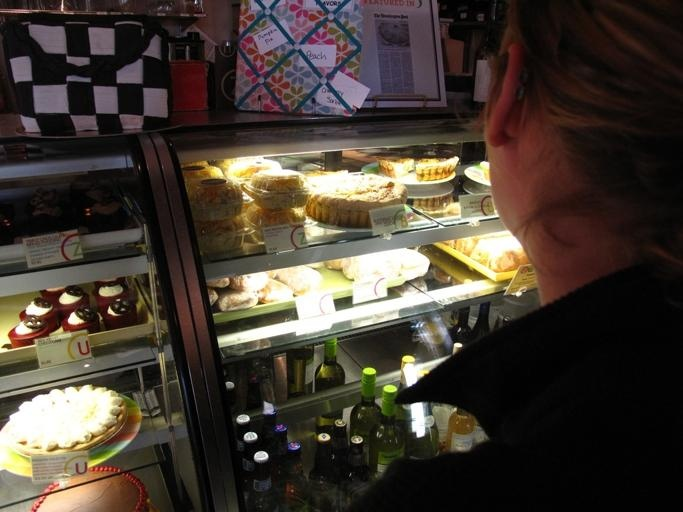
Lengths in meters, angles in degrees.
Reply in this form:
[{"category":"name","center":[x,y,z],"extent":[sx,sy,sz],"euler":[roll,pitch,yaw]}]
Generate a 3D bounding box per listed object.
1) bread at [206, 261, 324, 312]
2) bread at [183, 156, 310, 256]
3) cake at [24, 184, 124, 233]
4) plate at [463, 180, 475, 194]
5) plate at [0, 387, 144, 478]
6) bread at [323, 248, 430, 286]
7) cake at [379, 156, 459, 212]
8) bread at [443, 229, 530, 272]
[{"category":"bread","center":[-0.260,0.105,1.655],"extent":[0.263,0.058,0.169],"euler":[-7,12,-22]},{"category":"bread","center":[-0.270,-0.156,1.451],"extent":[0.333,0.131,0.302],"euler":[-9,35,-19]},{"category":"cake","center":[-0.710,-0.119,1.295],"extent":[0.189,0.041,0.166],"euler":[-6,30,-19]},{"category":"plate","center":[0.470,-0.253,1.838],"extent":[0.049,0.011,0.049],"euler":[24,41,27]},{"category":"plate","center":[-0.783,0.529,1.426],"extent":[0.404,0.193,0.189],"euler":[-15,9,-14]},{"category":"bread","center":[0.151,0.032,1.860],"extent":[0.223,0.062,0.217],"euler":[-8,11,-31]},{"category":"cake","center":[0.299,-0.278,1.808],"extent":[0.248,0.068,0.243],"euler":[-15,23,-32]},{"category":"bread","center":[0.602,-0.015,1.948],"extent":[0.219,0.040,0.211],"euler":[-11,26,-21]}]
